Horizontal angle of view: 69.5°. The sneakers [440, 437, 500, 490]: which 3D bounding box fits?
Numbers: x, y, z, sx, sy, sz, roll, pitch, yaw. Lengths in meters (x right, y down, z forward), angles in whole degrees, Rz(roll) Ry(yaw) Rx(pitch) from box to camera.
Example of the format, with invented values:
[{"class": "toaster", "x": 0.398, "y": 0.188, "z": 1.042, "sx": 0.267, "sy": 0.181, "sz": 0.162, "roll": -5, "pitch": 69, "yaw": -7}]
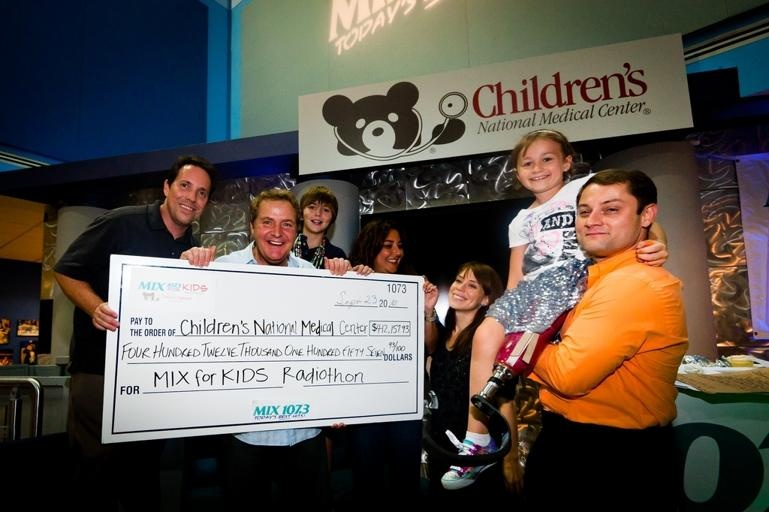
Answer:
[{"class": "sneakers", "x": 0.544, "y": 1.327, "z": 3.617, "sx": 0.494, "sy": 0.197, "sz": 0.161, "roll": -14, "pitch": 10, "yaw": -37}]
